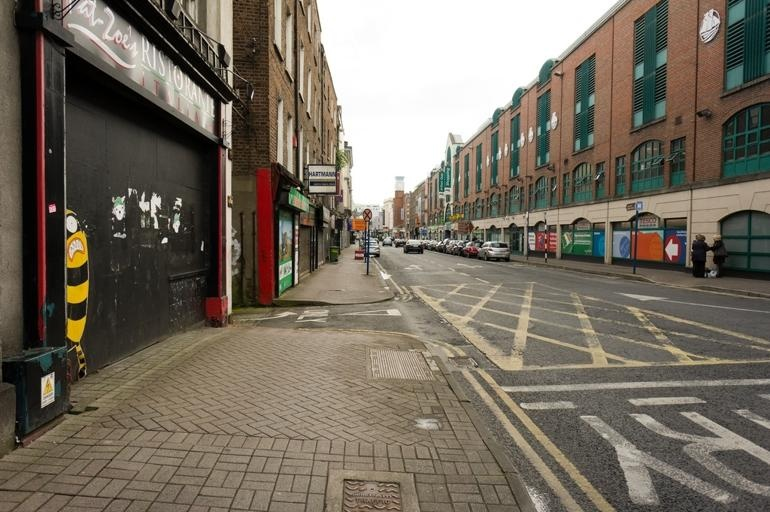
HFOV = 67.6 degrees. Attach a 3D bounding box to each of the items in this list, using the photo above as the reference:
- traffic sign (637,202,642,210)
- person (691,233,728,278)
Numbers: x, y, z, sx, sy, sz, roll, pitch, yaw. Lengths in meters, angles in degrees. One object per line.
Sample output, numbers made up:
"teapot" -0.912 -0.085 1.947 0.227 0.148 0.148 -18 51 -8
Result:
"traffic sign" 11.098 -2.177 25.046 0.233 0.249 0.428 15 4 18
"person" 13.193 0.009 23.332 1.696 1.701 1.103 -5 4 -43
